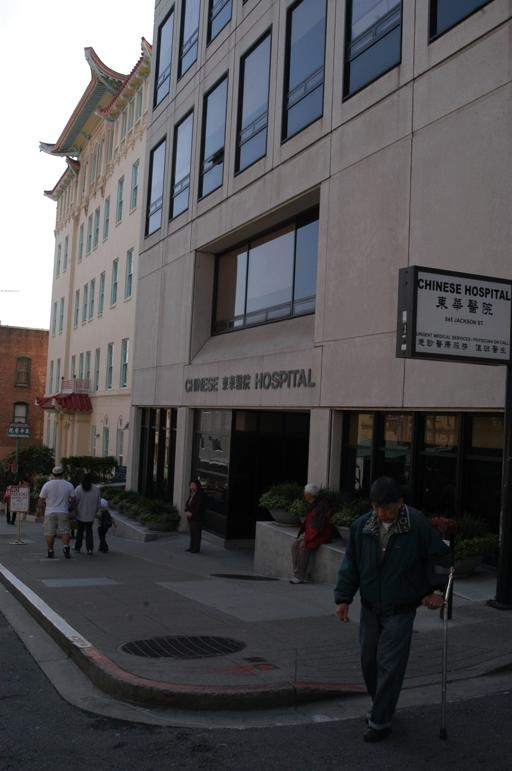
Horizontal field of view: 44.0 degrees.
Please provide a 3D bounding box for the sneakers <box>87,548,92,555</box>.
[{"bbox_3d":[-3.716,3.704,14.141,0.064,0.169,0.218,2,-14,-12],"label":"sneakers"}]

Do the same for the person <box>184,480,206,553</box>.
[{"bbox_3d":[-1.508,3.239,15.576,0.475,1.756,1.545,0,-8,-6],"label":"person"}]

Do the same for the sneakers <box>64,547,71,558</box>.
[{"bbox_3d":[-3.809,3.372,12.734,0.104,0.238,0.136,1,-8,-15],"label":"sneakers"}]

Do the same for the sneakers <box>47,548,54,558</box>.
[{"bbox_3d":[-4.161,3.379,12.769,0.068,0.159,0.202,1,3,-10],"label":"sneakers"}]

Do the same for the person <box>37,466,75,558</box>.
[{"bbox_3d":[-4.104,2.619,12.999,0.690,1.833,1.025,1,-8,-17],"label":"person"}]

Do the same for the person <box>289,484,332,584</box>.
[{"bbox_3d":[0.894,2.425,10.390,0.689,1.567,0.695,-2,-7,5],"label":"person"}]

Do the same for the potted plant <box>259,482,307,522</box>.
[{"bbox_3d":[0.591,2.315,12.446,0.680,0.691,0.724,-2,-6,32],"label":"potted plant"}]

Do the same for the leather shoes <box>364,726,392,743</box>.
[{"bbox_3d":[0.676,1.931,3.529,0.158,0.088,0.070,-1,-1,-34],"label":"leather shoes"}]

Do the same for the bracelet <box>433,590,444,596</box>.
[{"bbox_3d":[1.053,1.190,3.639,0.040,0.019,0.042,0,-5,14],"label":"bracelet"}]

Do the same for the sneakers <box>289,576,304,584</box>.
[{"bbox_3d":[0.636,3.131,10.180,0.084,0.131,0.248,-5,-16,34],"label":"sneakers"}]

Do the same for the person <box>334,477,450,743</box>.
[{"bbox_3d":[0.780,1.271,3.637,0.679,1.463,0.406,-4,-7,19],"label":"person"}]

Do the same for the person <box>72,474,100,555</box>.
[{"bbox_3d":[-3.823,2.882,14.277,0.538,1.794,2.085,1,-8,-15],"label":"person"}]

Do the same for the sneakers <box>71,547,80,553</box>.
[{"bbox_3d":[-4.146,3.771,14.536,0.118,0.188,0.381,4,-12,-27],"label":"sneakers"}]
